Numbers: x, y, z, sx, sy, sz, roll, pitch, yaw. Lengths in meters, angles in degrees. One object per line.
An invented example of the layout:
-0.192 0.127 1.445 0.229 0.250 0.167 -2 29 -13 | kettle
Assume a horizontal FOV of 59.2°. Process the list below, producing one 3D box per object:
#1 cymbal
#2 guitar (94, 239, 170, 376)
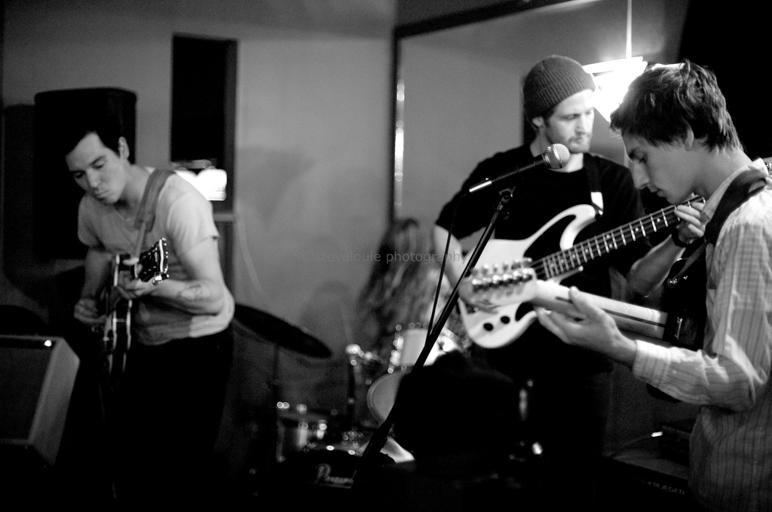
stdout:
-0.500 0.415 3.454 0.614 0.189 0.090 31 -33 -36 | cymbal
-1.073 0.243 3.089 0.116 0.652 0.319 12 25 -32 | guitar
